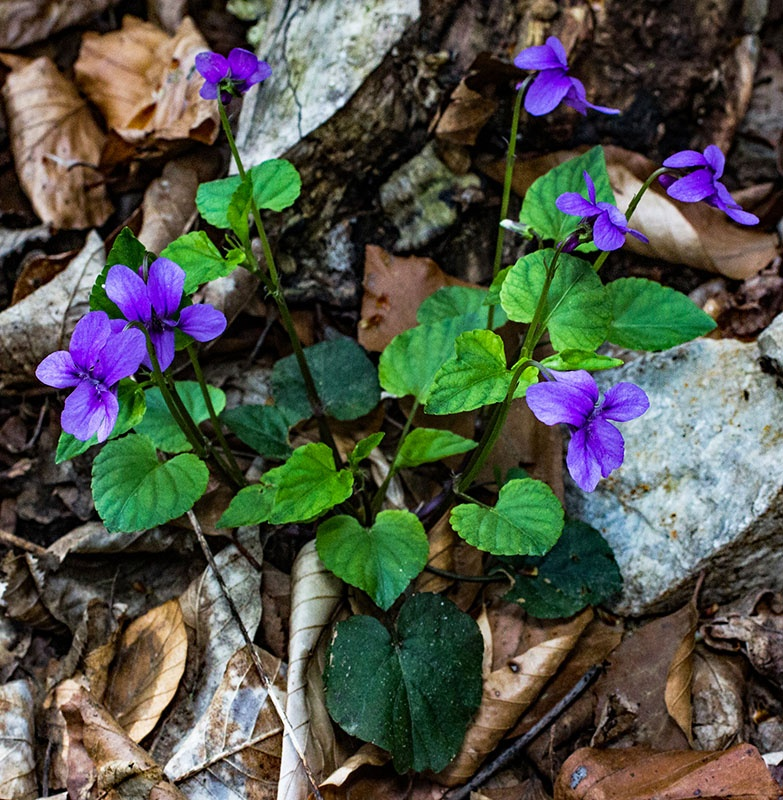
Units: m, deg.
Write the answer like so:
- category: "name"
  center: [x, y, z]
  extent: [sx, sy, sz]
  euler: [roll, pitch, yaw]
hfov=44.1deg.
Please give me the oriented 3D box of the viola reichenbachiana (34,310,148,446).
- category: "viola reichenbachiana"
  center: [-0.813, -0.076, 2.616]
  extent: [0.304, 0.095, 0.357]
  euler: [15, 81, -11]

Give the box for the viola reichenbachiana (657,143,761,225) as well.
- category: "viola reichenbachiana"
  center: [0.879, -0.617, 2.733]
  extent: [0.232, 0.088, 0.293]
  euler: [4, 69, -16]

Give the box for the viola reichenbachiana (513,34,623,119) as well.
- category: "viola reichenbachiana"
  center: [0.492, -0.915, 2.785]
  extent: [0.251, 0.103, 0.285]
  euler: [19, 63, -24]
